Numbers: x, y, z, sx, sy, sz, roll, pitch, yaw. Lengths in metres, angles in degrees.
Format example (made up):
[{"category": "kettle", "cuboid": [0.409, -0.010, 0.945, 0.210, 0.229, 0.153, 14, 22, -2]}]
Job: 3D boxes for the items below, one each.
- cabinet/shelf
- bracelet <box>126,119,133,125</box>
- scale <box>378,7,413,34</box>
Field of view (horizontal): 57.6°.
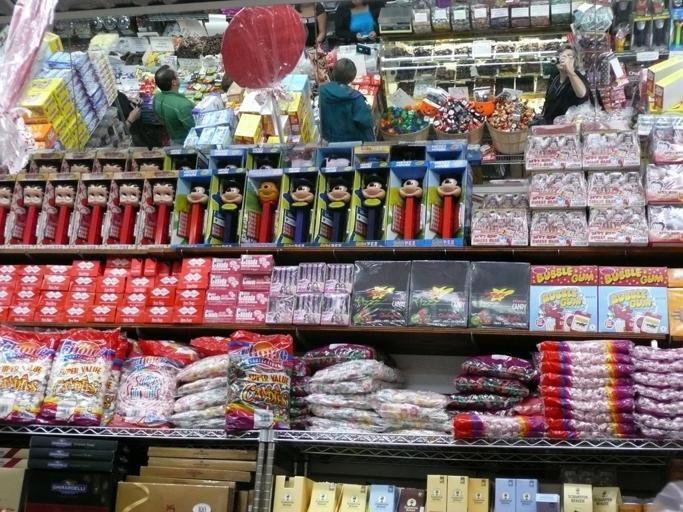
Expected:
[{"category": "cabinet/shelf", "cuboid": [0.075, -0.019, 4.440, 4.470, 1.559, 0.606, -4, 2, 11]}, {"category": "bracelet", "cuboid": [-2.208, -1.436, 6.628, 0.059, 0.027, 0.070, 2, 2, -4]}, {"category": "scale", "cuboid": [0.655, -2.766, 7.237, 0.397, 0.284, 0.237, -4, 2, 7]}]
